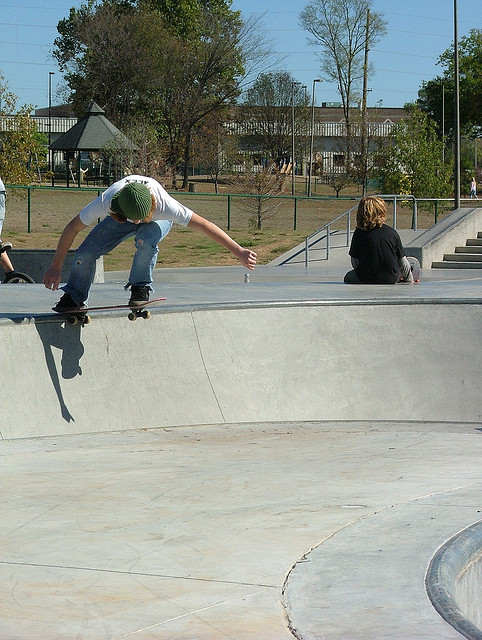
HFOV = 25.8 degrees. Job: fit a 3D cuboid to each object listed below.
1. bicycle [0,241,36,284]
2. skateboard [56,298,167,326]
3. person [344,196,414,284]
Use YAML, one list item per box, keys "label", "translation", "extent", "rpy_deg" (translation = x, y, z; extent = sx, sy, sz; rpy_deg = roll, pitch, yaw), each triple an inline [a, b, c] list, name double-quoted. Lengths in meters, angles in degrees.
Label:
- label: "bicycle"
  translation: [-2.099, -0.542, 9.832]
  extent: [0.273, 0.473, 1.373]
  rpy_deg: [-1, 9, -11]
- label: "skateboard"
  translation: [-0.676, -0.046, 5.894]
  extent: [0.738, 0.110, 0.163]
  rpy_deg: [-6, 14, -28]
- label: "person"
  translation: [1.181, -0.662, 9.023]
  extent: [0.501, 0.784, 0.790]
  rpy_deg: [2, 10, 8]
